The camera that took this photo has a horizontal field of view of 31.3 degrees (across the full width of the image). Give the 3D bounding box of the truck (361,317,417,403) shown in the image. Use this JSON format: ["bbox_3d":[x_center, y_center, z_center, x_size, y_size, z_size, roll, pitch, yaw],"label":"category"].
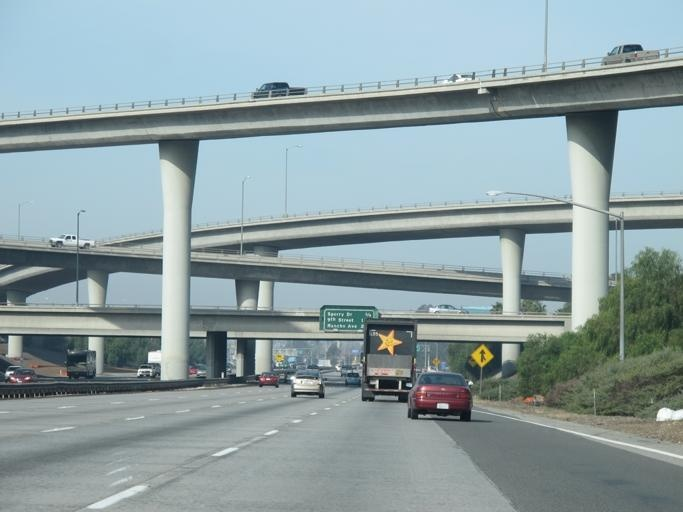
[{"bbox_3d":[2.722,5.737,69.814,2.210,5.333,3.170,1,-5,0],"label":"truck"}]

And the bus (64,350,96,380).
[{"bbox_3d":[-25.732,10.796,120.857,1.676,2.126,3.489,-1,-8,-1],"label":"bus"}]
